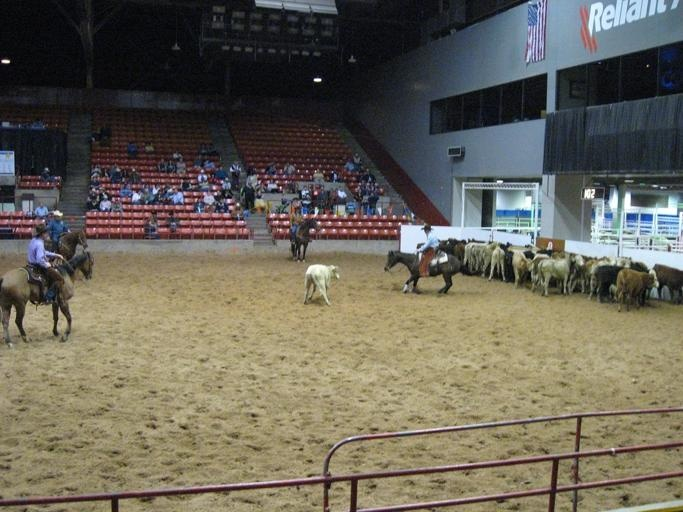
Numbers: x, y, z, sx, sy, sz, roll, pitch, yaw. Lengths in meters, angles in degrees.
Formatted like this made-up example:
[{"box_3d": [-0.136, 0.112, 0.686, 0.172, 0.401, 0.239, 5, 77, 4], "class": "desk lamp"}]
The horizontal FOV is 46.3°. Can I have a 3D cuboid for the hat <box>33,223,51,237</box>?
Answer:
[{"box_3d": [-7.260, -0.619, 19.201, 0.331, 0.324, 0.272, 6, 6, 39], "class": "hat"}]

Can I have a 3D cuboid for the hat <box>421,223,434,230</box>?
[{"box_3d": [3.284, -1.146, 30.461, 0.548, 0.442, 1.096, 0, 0, 6], "class": "hat"}]

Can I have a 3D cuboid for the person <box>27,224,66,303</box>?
[{"box_3d": [-7.136, 0.170, 19.279, 0.791, 1.872, 0.350, 0, 4, -23], "class": "person"}]

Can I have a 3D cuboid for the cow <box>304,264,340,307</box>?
[{"box_3d": [-0.562, 0.752, 23.528, 0.698, 1.213, 2.134, 6, 5, 16], "class": "cow"}]

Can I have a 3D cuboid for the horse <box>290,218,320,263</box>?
[{"box_3d": [-1.565, -0.643, 31.266, 0.545, 1.736, 2.243, 1, 3, -33], "class": "horse"}]

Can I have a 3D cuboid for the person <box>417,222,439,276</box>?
[{"box_3d": [2.738, -0.196, 25.025, 0.654, 1.593, 0.900, 2, 4, 7], "class": "person"}]
